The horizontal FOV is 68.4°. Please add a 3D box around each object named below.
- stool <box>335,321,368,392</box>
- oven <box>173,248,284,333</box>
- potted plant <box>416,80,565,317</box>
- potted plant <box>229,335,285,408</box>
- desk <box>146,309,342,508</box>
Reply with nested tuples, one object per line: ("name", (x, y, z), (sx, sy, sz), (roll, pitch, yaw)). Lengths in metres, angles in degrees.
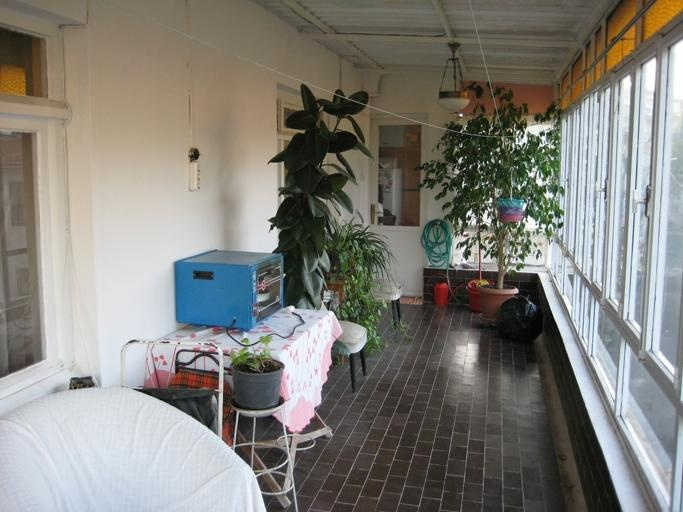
("stool", (0.024, 0.940, 4.879), (0.426, 0.555, 0.429), (2, 17, 6))
("oven", (-0.838, 0.258, 3.890), (0.591, 0.510, 0.782), (4, 6, 18))
("potted plant", (2.148, -0.983, 6.978), (1.944, 3.145, 1.926), (3, 8, 39))
("potted plant", (-0.491, 0.695, 2.925), (0.283, 0.391, 0.320), (-2, 1, 4))
("desk", (-0.620, 0.596, 3.447), (0.994, 1.135, 1.498), (2, 5, 13))
